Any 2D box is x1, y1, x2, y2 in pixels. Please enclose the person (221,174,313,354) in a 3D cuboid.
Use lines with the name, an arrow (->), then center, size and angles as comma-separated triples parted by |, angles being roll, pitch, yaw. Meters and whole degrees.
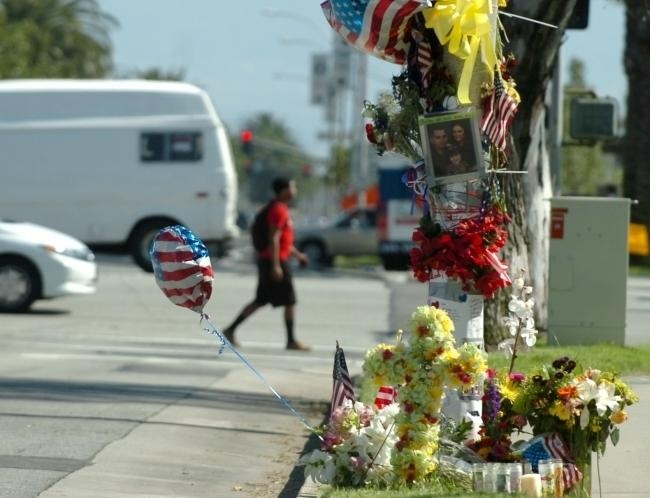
person -> -0.455, 0.108, 17.867 | 0.742, 1.715, 0.764 | -1, 10, -32

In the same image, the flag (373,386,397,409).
flag -> 0.458, 1.094, 13.288 | 0.144, 0.179, 0.111 | 24, 5, 20

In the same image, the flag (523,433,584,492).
flag -> 1.676, 1.560, 13.222 | 0.484, 0.383, 0.600 | -2, 8, 10

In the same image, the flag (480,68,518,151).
flag -> 1.322, -1.053, 13.421 | 0.262, 0.623, 0.258 | 2, 8, 16

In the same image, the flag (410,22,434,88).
flag -> 0.717, -1.444, 13.363 | 0.167, 0.539, 0.093 | -1, 3, 1
